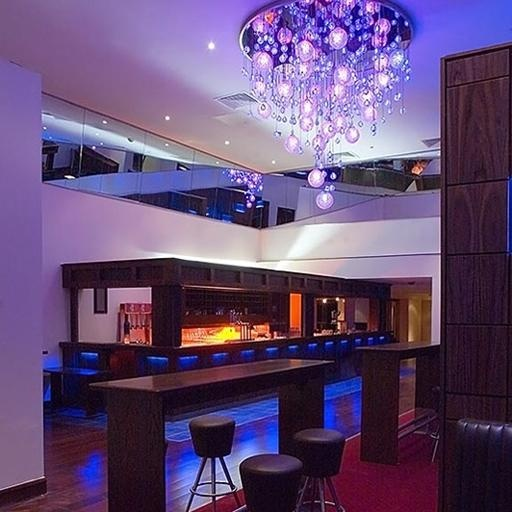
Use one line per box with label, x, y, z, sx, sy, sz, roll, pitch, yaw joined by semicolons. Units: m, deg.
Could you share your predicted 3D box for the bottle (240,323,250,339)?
bottle;-0.207;1.605;9.393;0.212;0.397;0.234;-1;-3;30
